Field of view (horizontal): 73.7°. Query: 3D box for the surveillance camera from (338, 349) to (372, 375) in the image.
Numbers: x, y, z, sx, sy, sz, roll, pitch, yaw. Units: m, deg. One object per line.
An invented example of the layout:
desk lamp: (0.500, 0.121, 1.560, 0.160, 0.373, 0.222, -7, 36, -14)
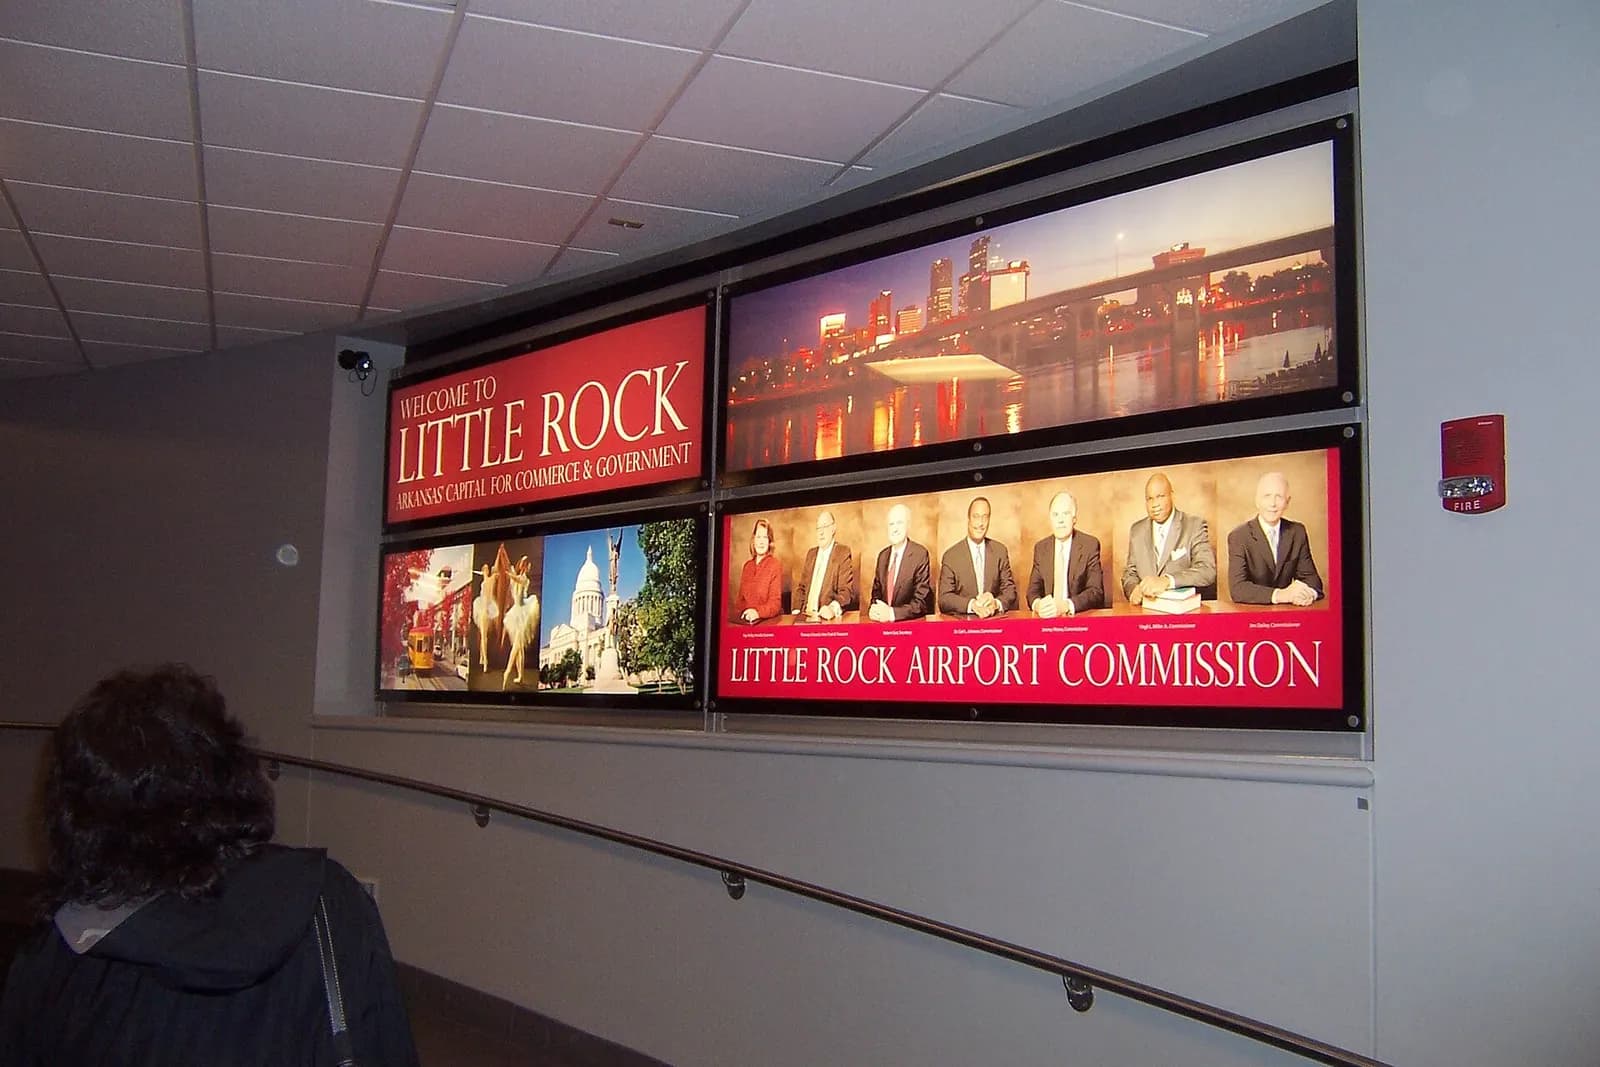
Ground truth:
surveillance camera: (-2.666, -1.043, 6.403, 0.192, 0.150, 0.119, 0, -4, -27)
